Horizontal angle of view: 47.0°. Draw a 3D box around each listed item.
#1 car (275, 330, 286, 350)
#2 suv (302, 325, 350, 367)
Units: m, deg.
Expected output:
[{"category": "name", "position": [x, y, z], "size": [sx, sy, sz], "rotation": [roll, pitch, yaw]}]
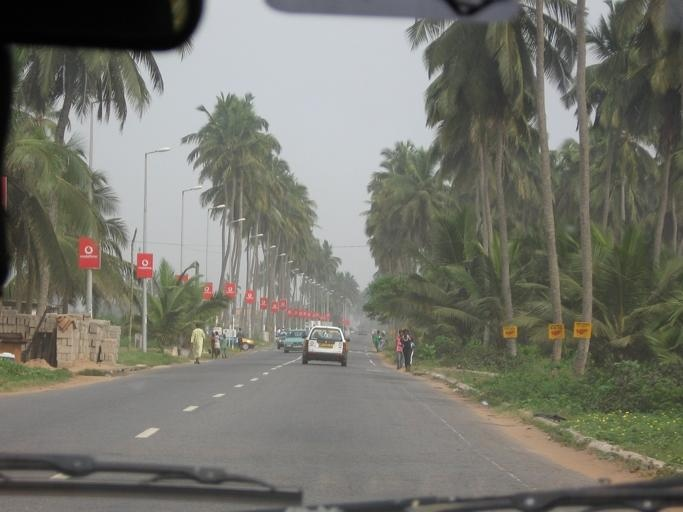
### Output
[{"category": "car", "position": [-5.730, 8.004, 74.112], "size": [1.034, 1.486, 2.271], "rotation": [1, -8, -3]}, {"category": "suv", "position": [-0.752, 4.154, 37.168], "size": [1.188, 1.388, 2.403], "rotation": [1, 3, 1]}]
